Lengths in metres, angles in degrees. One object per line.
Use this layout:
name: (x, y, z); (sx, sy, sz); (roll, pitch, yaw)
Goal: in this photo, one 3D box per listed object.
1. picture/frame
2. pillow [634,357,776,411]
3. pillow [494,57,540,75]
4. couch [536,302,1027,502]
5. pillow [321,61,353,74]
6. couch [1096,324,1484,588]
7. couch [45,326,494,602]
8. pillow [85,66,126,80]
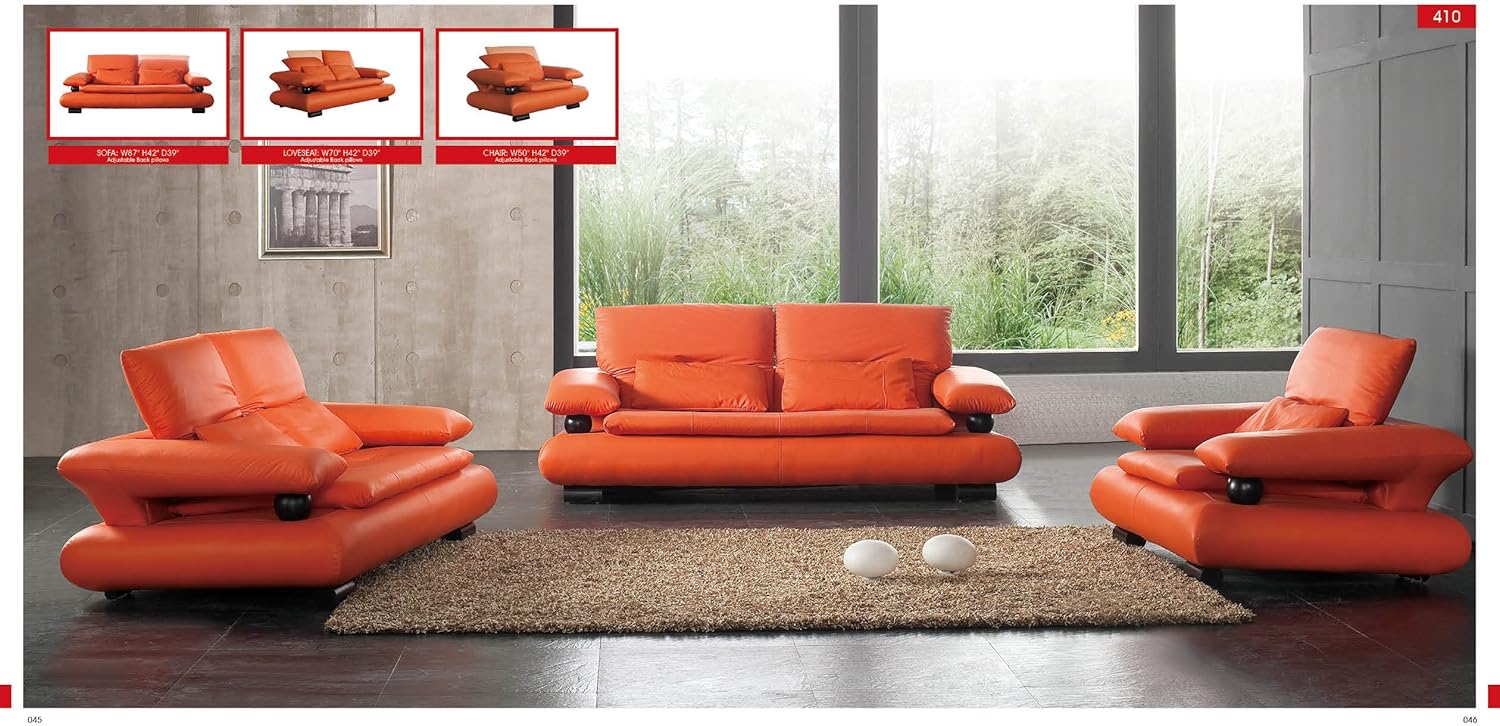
picture/frame: (-4.197, -1.658, 10.198); (1.768, 1.060, 0.844); (0, 1, -7)
pillow: (-0.440, 0.127, 9.213); (1.343, 0.506, 0.397); (3, -6, -34)
pillow: (-2.178, -2.808, 9.952); (0.389, 0.156, 0.093); (-4, 14, -21)
couch: (0.252, 0.247, 9.094); (4.118, 1.183, 1.146); (0, 30, -10)
pillow: (-3.889, -2.808, 10.001); (0.218, 0.139, 0.042); (-2, -24, -20)
couch: (3.751, 0.620, 7.922); (2.671, 1.456, 2.179); (0, 0, -3)
couch: (-3.268, 0.649, 7.321); (1.664, 1.641, 2.064); (7, 14, 29)
pillow: (-6.065, -2.744, 9.965); (0.391, 0.140, 0.097); (1, 13, 5)
